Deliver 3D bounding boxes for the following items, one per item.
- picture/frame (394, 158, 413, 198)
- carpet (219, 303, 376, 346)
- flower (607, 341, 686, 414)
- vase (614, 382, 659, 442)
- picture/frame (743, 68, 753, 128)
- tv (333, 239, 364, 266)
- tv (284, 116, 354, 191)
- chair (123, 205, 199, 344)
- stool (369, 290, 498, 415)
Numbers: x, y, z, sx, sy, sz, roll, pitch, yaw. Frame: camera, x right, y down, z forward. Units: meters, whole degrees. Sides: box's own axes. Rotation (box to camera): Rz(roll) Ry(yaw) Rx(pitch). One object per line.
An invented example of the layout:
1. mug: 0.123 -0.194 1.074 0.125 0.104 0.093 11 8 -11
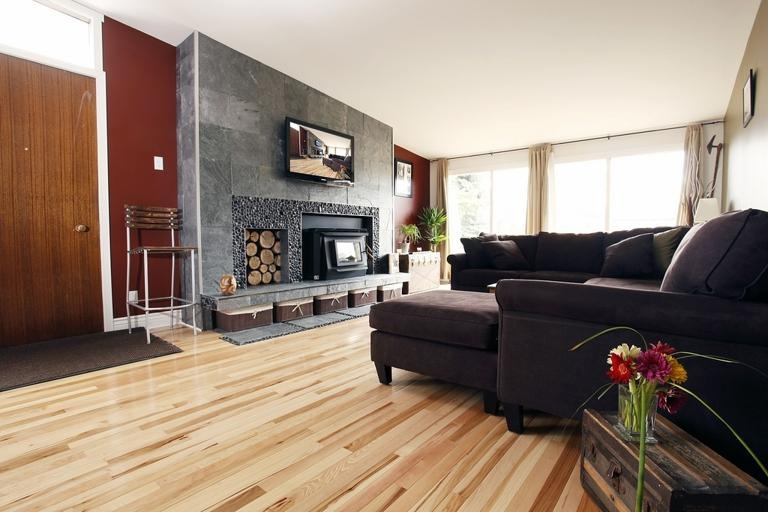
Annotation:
1. picture/frame: 0.332 -1.454 8.713 0.061 0.714 0.846 0 0 28
2. carpet: -0.944 0.763 5.268 1.737 0.064 0.504 -7 6 -42
3. flower: 1.365 0.618 2.589 0.407 0.400 0.406 0 -2 19
4. vase: 1.357 0.841 2.642 0.284 0.318 0.320 0 1 17
5. picture/frame: 3.740 -1.637 4.849 0.052 0.545 0.524 0 6 33
6. tv: -0.475 -0.066 6.406 0.137 0.359 0.573 0 6 27
7. tv: -0.820 -1.328 6.097 0.069 0.759 1.194 1 6 36
8. chair: -2.330 0.140 4.923 0.711 1.368 0.753 -7 7 -32
9. stool: 0.364 0.630 3.517 0.887 0.554 0.851 2 6 30
